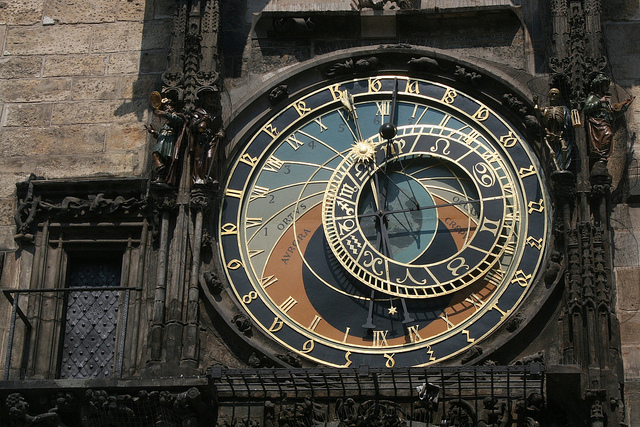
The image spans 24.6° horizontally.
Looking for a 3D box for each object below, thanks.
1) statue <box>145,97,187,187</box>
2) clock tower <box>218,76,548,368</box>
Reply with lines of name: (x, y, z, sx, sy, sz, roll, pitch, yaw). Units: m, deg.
statue: (-3.617, -1.726, 34.175, 0.913, 2.120, 1.093, 13, -18, -28)
clock tower: (1.574, 0.481, 33.688, 7.993, 6.549, 0.970, -3, -28, 4)
